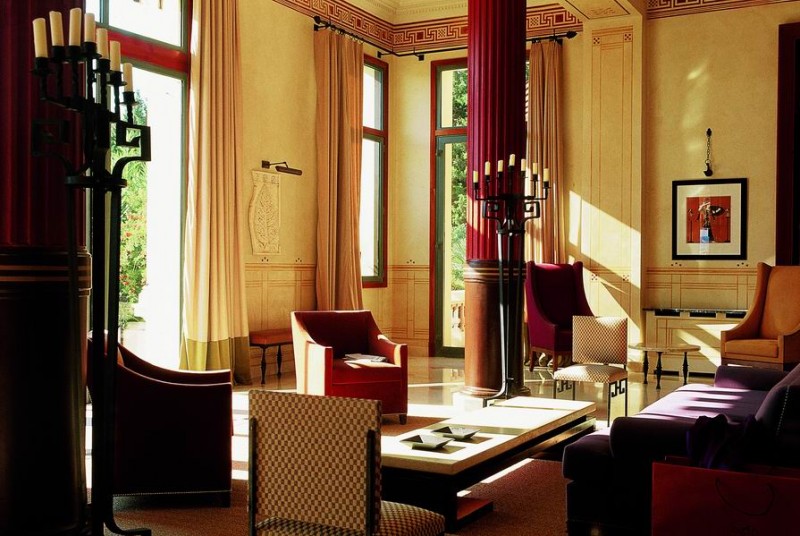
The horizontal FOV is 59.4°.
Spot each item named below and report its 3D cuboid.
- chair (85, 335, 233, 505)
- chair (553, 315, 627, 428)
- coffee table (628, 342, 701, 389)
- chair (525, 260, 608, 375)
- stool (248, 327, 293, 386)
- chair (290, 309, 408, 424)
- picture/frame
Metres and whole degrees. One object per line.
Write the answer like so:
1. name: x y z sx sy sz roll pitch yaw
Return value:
1. chair: -1.575 1.124 5.012 0.998 1.048 0.936 5 -15 -30
2. chair: 1.919 1.027 7.010 0.761 1.090 0.781 1 -1 -21
3. coffee table: 3.156 1.167 8.290 0.976 0.417 1.002 -1 -7 36
4. chair: 2.019 0.594 8.612 0.773 1.272 0.779 -2 3 -8
5. stool: -1.575 1.100 8.815 0.413 0.585 0.798 -2 -4 -19
6. chair: -0.501 0.947 6.825 1.014 1.010 1.054 1 1 -18
7. picture/frame: 4.082 -0.660 9.183 1.010 1.297 0.058 1 2 14
